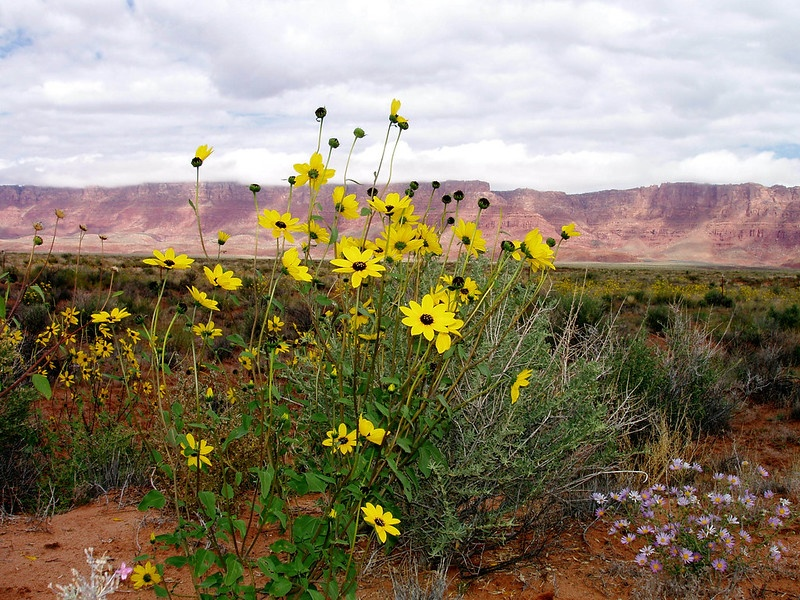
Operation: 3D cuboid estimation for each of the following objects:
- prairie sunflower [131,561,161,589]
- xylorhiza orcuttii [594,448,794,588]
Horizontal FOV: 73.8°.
[{"bbox_3d":[-1.381,1.490,2.923,0.172,0.191,0.052,5,9,4],"label":"prairie sunflower"},{"bbox_3d":[2.243,1.638,4.001,1.116,0.622,1.032,-16,15,-28],"label":"xylorhiza orcuttii"}]
